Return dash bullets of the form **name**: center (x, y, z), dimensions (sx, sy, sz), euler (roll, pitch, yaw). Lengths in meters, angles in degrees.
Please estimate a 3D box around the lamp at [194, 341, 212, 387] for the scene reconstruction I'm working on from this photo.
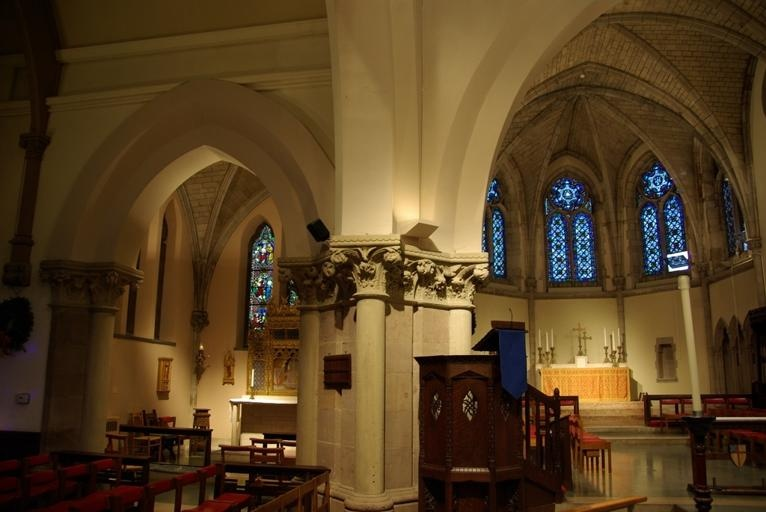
- **lamp**: center (-5.718, 3.367, 20.888), dimensions (0.347, 1.272, 0.453), euler (-8, -17, 25)

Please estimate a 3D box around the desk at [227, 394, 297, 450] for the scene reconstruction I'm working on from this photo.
- **desk**: center (-3.193, 4.626, 18.318), dimensions (1.823, 1.293, 1.020), euler (2, -14, 13)

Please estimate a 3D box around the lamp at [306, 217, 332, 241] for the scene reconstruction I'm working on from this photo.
- **lamp**: center (-1.116, -0.496, 11.938), dimensions (0.259, 0.504, 0.283), euler (-31, -15, 8)

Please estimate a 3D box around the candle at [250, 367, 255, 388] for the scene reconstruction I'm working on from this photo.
- **candle**: center (-3.803, 3.631, 19.502), dimensions (0.135, 0.581, 0.198), euler (-3, -16, 9)
